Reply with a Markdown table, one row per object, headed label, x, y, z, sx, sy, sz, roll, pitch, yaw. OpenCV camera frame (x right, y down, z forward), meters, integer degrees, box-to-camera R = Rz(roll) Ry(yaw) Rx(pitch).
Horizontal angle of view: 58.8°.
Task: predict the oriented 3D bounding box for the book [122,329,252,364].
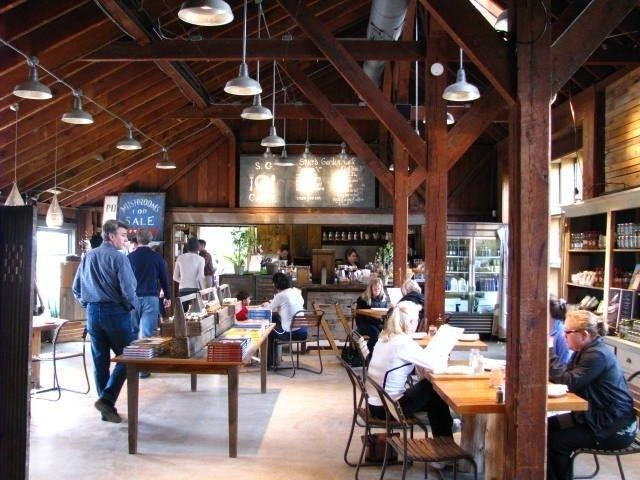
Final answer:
| label | x | y | z | sx | sy | sz | roll | pitch | yaw |
| --- | --- | --- | --- | --- | --- | --- | --- | --- | --- |
| book | -1.284 | 1.039 | 5.641 | 1.159 | 0.208 | 0.475 | 1 | 3 | 4 |

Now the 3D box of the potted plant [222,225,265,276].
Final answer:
| label | x | y | z | sx | sy | sz | roll | pitch | yaw |
| --- | --- | --- | --- | --- | --- | --- | --- | --- | --- |
| potted plant | -1.605 | 0.251 | 12.545 | 0.634 | 0.794 | 1.712 | 0 | 3 | -7 |

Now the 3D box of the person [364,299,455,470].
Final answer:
| label | x | y | z | sx | sy | sz | roll | pitch | yaw |
| --- | --- | --- | --- | --- | --- | --- | --- | --- | --- |
| person | 0.877 | 1.344 | 5.425 | 0.917 | 1.447 | 0.613 | -4 | 1 | -13 |

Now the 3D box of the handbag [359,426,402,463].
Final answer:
| label | x | y | z | sx | sy | sz | roll | pitch | yaw |
| --- | --- | --- | --- | --- | --- | --- | --- | --- | --- |
| handbag | 0.547 | 1.967 | 5.423 | 0.291 | 0.272 | 0.349 | 0 | -3 | 21 |

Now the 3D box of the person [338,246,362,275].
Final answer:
| label | x | y | z | sx | sy | sz | roll | pitch | yaw |
| --- | --- | --- | --- | --- | --- | --- | --- | --- | --- |
| person | 0.642 | 0.462 | 13.044 | 0.439 | 1.075 | 0.378 | 3 | -10 | -23 |

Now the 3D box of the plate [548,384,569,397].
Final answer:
| label | x | y | z | sx | sy | sz | roll | pitch | yaw |
| --- | --- | --- | --- | --- | --- | --- | --- | --- | --- |
| plate | 1.889 | 1.192 | 4.560 | 0.136 | 0.069 | 0.312 | 2 | 3 | 23 |
